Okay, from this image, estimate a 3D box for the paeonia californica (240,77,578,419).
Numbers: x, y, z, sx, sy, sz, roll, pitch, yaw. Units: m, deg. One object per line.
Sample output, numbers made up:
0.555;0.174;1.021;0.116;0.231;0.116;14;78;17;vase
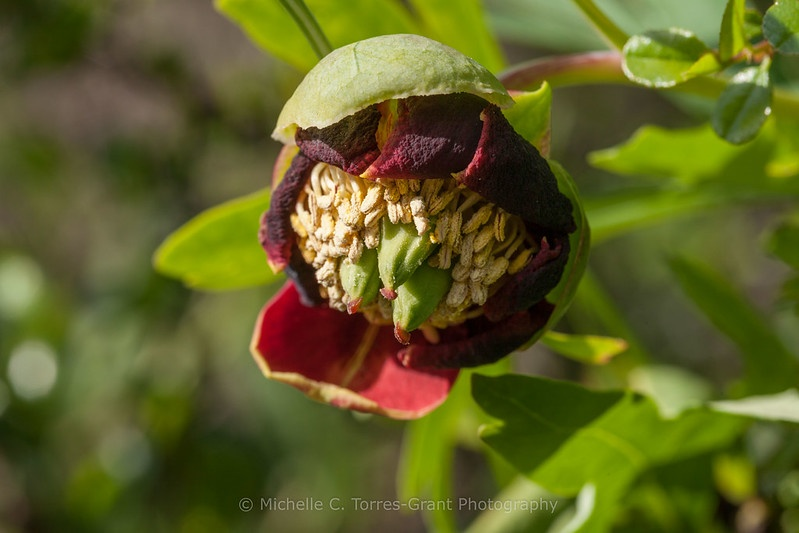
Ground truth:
-0.032;-0.052;1.675;0.500;0.914;0.283;-12;-70;15;paeonia californica
